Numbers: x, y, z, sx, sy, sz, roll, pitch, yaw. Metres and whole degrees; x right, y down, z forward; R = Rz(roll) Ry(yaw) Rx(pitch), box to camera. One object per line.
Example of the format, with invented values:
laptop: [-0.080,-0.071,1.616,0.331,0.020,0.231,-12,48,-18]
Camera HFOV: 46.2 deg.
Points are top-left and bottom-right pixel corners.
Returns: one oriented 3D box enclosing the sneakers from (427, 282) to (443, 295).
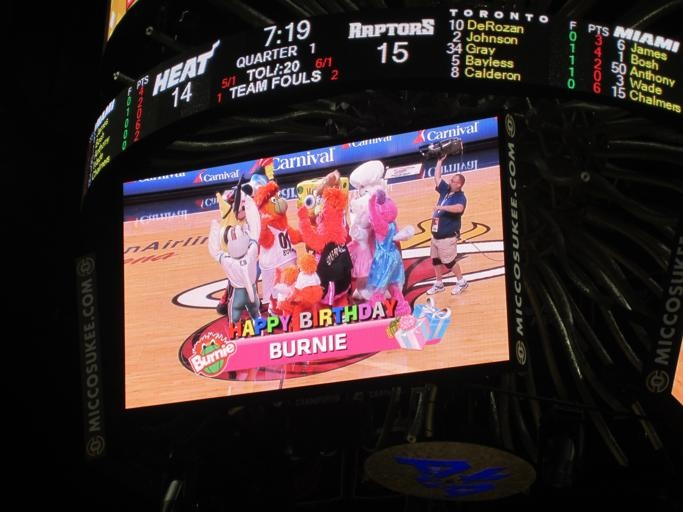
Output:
sneakers: [1.132,0.402,9.744,0.233,0.143,0.095,-2,22,12]
